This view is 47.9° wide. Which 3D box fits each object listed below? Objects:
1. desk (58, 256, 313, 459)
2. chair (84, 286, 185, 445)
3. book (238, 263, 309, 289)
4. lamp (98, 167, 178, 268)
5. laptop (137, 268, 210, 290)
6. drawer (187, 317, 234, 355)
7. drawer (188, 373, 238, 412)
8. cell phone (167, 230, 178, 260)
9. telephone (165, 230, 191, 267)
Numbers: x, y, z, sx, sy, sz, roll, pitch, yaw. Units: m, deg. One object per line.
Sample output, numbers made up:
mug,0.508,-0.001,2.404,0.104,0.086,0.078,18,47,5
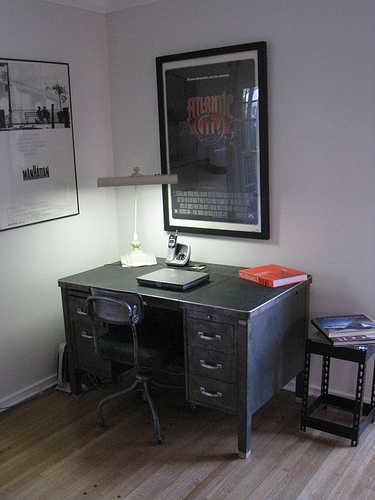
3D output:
desk,-0.043,0.473,2.235,1.075,0.623,0.644,4,10,33
chair,-0.229,0.513,2.128,0.446,0.673,0.524,2,7,16
book,0.438,0.131,2.140,0.266,0.066,0.299,-6,7,-30
lamp,-0.315,-0.225,2.752,0.579,0.711,0.246,-5,14,-22
laptop,-0.065,0.148,2.173,0.305,0.056,0.294,2,7,36
drawer,0.103,0.365,1.771,0.161,0.095,0.132,6,10,38
drawer,0.110,0.615,1.822,0.149,0.070,0.152,2,4,17
cell phone,-0.092,-0.013,2.520,0.057,0.139,0.097,-2,6,1
telephone,-0.057,-0.008,2.503,0.139,0.206,0.117,6,9,12
